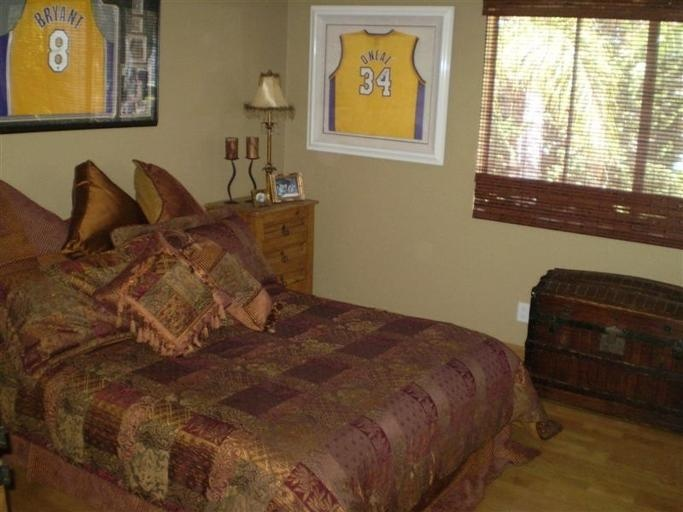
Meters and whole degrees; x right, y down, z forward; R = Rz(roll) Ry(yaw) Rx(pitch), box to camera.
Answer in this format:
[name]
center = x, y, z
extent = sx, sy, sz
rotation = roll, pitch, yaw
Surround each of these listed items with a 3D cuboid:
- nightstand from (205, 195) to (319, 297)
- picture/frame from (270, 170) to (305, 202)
[nightstand]
center = -0.573, -0.100, 4.090
extent = 0.420, 0.755, 0.458
rotation = 19, 36, 31
[picture/frame]
center = -0.460, -0.576, 4.884
extent = 0.033, 0.226, 0.299
rotation = -2, 5, 44
